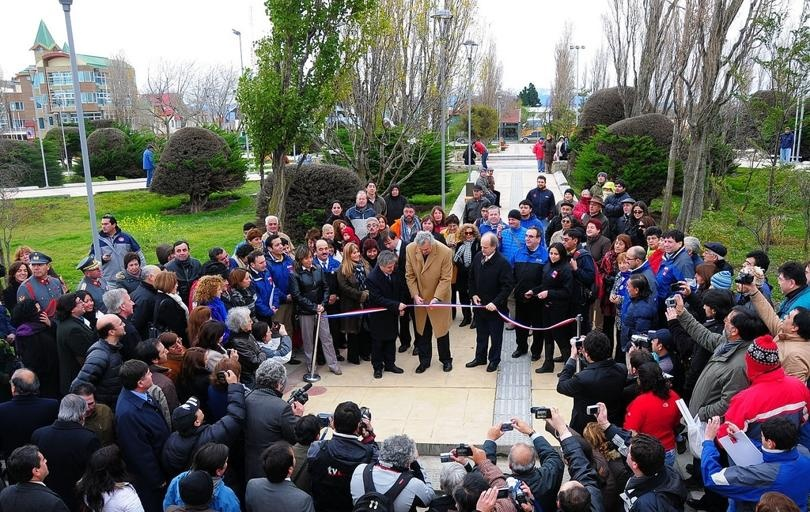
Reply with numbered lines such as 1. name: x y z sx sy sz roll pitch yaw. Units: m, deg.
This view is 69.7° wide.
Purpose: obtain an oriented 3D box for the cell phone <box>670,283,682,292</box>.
1. cell phone: 4.609 0.533 9.920 0.131 0.025 0.236 31 -44 -17

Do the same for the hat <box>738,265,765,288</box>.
1. hat: 5.049 0.274 8.555 0.256 0.393 0.368 -5 3 -31

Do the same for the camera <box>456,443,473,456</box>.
1. camera: 0.726 2.389 7.112 0.244 0.180 0.139 2 13 2

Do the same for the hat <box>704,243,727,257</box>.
1. hat: 5.349 -0.103 10.044 0.345 0.239 0.244 -3 7 -21

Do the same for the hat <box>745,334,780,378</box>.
1. hat: 4.556 1.306 7.461 0.403 0.514 0.344 -26 26 -36

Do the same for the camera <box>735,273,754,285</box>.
1. camera: 4.856 0.333 8.340 0.103 0.165 0.180 -4 0 9

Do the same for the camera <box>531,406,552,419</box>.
1. camera: 1.715 1.987 7.360 0.306 0.166 0.109 -1 2 -14

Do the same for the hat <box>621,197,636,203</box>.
1. hat: 4.938 -1.224 12.920 0.226 0.074 0.224 0 9 5

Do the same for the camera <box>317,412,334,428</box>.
1. camera: -1.093 2.238 7.970 0.218 0.111 0.388 0 -2 3

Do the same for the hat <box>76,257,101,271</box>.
1. hat: -5.941 0.227 10.900 0.375 0.169 0.310 -13 16 -2

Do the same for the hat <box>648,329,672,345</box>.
1. hat: 3.930 1.265 9.081 0.411 0.191 0.193 -1 7 -11

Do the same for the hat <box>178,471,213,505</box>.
1. hat: -2.392 2.734 6.728 0.314 0.397 0.411 2 20 -5

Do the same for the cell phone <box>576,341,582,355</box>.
1. cell phone: 2.595 1.391 8.696 0.045 0.185 0.137 2 19 22

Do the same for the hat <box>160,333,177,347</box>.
1. hat: -3.536 1.267 8.754 0.253 0.208 0.175 -3 7 -25

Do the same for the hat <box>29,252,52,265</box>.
1. hat: -6.727 0.050 10.762 0.325 0.220 0.421 -4 8 -34

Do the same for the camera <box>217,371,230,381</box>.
1. camera: -2.491 1.639 8.030 0.175 0.118 0.095 1 1 6

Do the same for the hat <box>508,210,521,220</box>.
1. hat: 2.294 -0.878 12.309 0.206 0.217 0.278 9 12 24
